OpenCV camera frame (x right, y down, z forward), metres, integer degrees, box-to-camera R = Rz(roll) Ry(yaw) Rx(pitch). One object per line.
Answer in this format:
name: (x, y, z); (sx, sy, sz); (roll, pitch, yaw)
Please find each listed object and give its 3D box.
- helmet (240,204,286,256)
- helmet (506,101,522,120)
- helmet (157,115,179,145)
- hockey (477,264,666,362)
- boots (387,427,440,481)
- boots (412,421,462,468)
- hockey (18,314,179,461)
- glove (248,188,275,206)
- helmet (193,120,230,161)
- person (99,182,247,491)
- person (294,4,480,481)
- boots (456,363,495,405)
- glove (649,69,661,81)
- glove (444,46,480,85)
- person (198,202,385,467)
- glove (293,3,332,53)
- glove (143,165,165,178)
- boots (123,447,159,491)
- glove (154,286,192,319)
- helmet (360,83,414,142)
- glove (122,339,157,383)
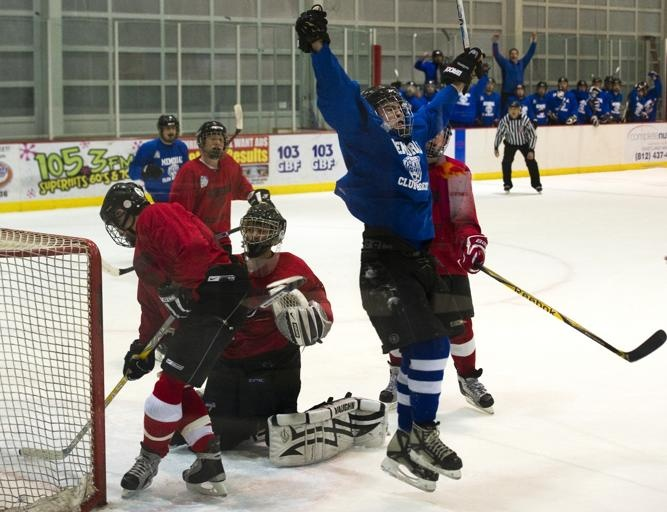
helmet: (-0.257, -0.090, 2.727); (0.156, 0.185, 0.193); (2, -5, 25)
helmet: (2.251, -1.819, 9.454); (0.171, 0.225, 0.232); (-4, 5, 7)
helmet: (-0.768, -0.591, 3.596); (0.113, 0.137, 0.141); (-4, 15, -25)
hockey: (1.046, 0.234, 3.353); (0.763, 0.421, 0.381); (-1, 9, 6)
boots: (0.252, 0.722, 2.711); (0.234, 0.156, 0.076); (30, -27, -31)
boots: (0.358, 0.665, 2.662); (0.082, 0.136, 0.228); (-10, 16, -41)
hockey: (-0.923, 0.533, 2.978); (0.083, 0.117, 0.736); (24, 63, 42)
glove: (-0.308, -0.251, 3.249); (0.107, 0.096, 0.130); (1, 6, -9)
helmet: (-0.514, -0.491, 3.252); (0.135, 0.162, 0.171); (0, -3, -15)
person: (-0.563, 0.265, 2.797); (0.497, 1.050, 0.640); (-4, 9, -16)
person: (0.187, -0.040, 2.737); (0.519, 1.638, 0.479); (-1, 9, 7)
boots: (0.623, 0.583, 3.321); (0.076, 0.150, 0.224); (-14, 21, -22)
glove: (5.361, -3.026, 12.722); (0.190, 0.178, 0.078); (-11, 4, 19)
glove: (0.515, -0.737, 3.032); (0.112, 0.059, 0.174); (30, 64, 24)
person: (-0.169, 0.355, 3.040); (0.965, 0.896, 0.549); (-12, 18, -31)
glove: (-0.067, -0.747, 2.509); (0.107, 0.164, 0.168); (-2, 9, -2)
glove: (-0.830, -0.386, 3.515); (0.078, 0.069, 0.019); (-2, -8, -17)
boots: (-0.660, 0.748, 2.670); (0.070, 0.091, 0.202); (31, -1, 3)
glove: (-0.557, 0.164, 2.709); (0.133, 0.115, 0.044); (2, 10, 20)
helmet: (0.202, -0.537, 2.797); (0.198, 0.188, 0.163); (24, 59, 35)
glove: (-0.733, 0.394, 2.841); (0.154, 0.115, 0.073); (-40, -37, 21)
